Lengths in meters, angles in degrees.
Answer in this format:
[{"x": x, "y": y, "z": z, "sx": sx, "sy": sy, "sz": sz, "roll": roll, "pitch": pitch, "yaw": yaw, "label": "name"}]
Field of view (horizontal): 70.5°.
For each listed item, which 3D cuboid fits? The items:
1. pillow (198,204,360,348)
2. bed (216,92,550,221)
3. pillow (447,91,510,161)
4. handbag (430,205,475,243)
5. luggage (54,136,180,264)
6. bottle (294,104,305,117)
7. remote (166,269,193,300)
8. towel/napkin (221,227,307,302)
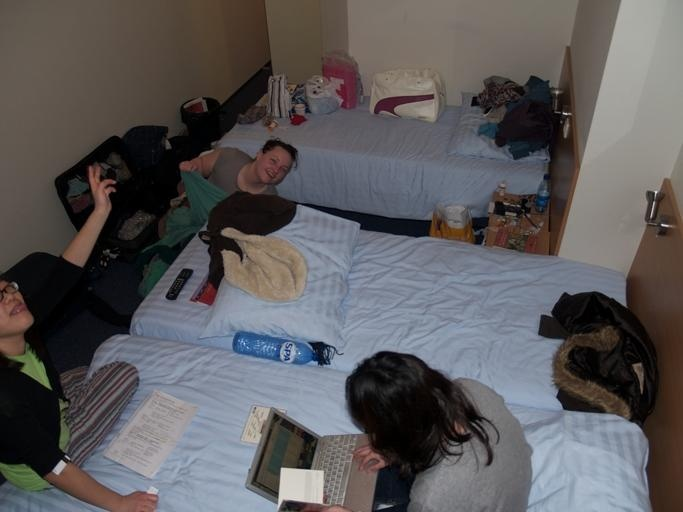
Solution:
[{"x": -0.344, "y": 0.090, "z": 2.885, "sx": 0.794, "sy": 0.349, "sz": 0.852, "roll": 2, "pitch": 41, "yaw": 7, "label": "pillow"}, {"x": 0.489, "y": -0.706, "z": 4.242, "sx": 2.070, "sy": 0.531, "sz": 1.257, "roll": 7, "pitch": 65, "yaw": 7, "label": "bed"}, {"x": 1.105, "y": -1.004, "z": 3.968, "sx": 0.440, "sy": 0.105, "sz": 0.748, "roll": 5, "pitch": 59, "yaw": 14, "label": "pillow"}, {"x": 0.795, "y": -0.252, "z": 3.531, "sx": 0.313, "sy": 0.324, "sz": 0.231, "roll": 15, "pitch": 38, "yaw": 28, "label": "handbag"}, {"x": -2.042, "y": -0.473, "z": 4.039, "sx": 0.584, "sy": 0.895, "sz": 0.463, "roll": 23, "pitch": 28, "yaw": 24, "label": "luggage"}, {"x": -0.397, "y": -1.348, "z": 4.478, "sx": 0.088, "sy": 0.091, "sz": 0.095, "roll": 9, "pitch": 55, "yaw": 7, "label": "bottle"}, {"x": -0.997, "y": 0.169, "z": 2.948, "sx": 0.068, "sy": 0.023, "sz": 0.221, "roll": 10, "pitch": 42, "yaw": 3, "label": "remote"}, {"x": -0.441, "y": 0.060, "z": 2.752, "sx": 0.456, "sy": 0.080, "sz": 0.341, "roll": 26, "pitch": 64, "yaw": 10, "label": "towel/napkin"}]
